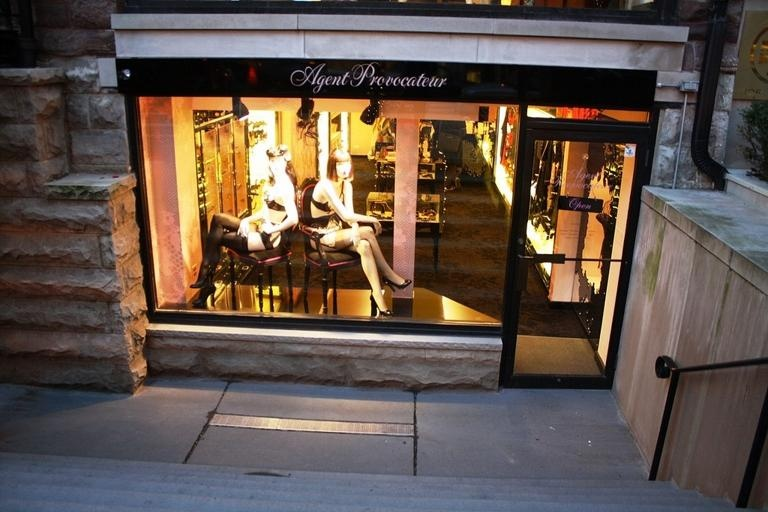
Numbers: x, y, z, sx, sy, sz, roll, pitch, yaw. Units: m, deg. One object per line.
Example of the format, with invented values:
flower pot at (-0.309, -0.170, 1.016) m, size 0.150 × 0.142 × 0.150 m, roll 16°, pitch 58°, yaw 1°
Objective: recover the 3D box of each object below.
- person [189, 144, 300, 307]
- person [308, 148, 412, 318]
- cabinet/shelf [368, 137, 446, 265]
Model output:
person at (-1.546, -0.528, 6.758) m, size 1.045 × 1.329 × 0.510 m, roll 0°, pitch -11°, yaw 20°
person at (-0.312, -0.344, 6.750) m, size 1.535 × 1.810 × 0.869 m, roll 16°, pitch 39°, yaw 16°
cabinet/shelf at (0.323, -0.668, 6.925) m, size 1.489 × 1.125 × 0.885 m, roll 6°, pitch 42°, yaw 0°
